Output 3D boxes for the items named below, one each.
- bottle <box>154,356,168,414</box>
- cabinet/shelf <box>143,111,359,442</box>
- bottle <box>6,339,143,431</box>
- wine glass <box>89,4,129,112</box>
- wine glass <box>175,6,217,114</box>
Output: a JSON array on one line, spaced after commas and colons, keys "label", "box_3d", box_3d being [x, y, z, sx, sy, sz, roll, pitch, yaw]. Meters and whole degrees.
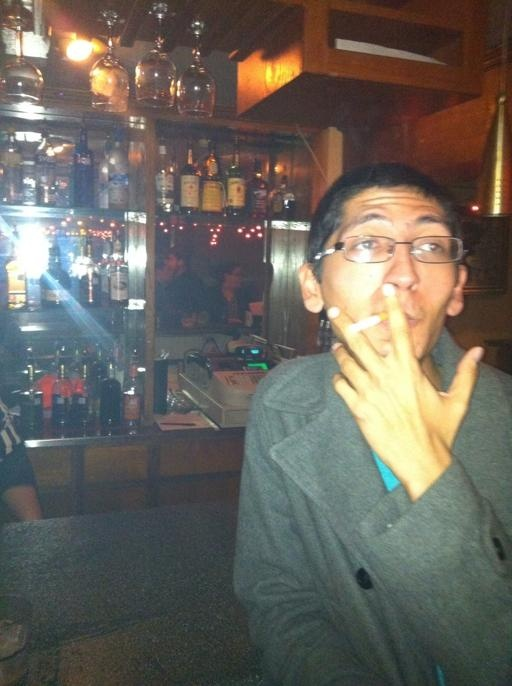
[{"label": "bottle", "box_3d": [-0.474, 0.218, 3.102, 0.066, 0.284, 0.174, 6, 9, 1]}, {"label": "cabinet/shelf", "box_3d": [-0.226, -0.207, 3.885, 1.390, 1.914, 1.310, 11, -25, -25]}, {"label": "bottle", "box_3d": [-0.855, 0.252, 2.925, 0.515, 0.120, 0.459, 4, 38, -19]}, {"label": "wine glass", "box_3d": [-0.532, -1.035, 2.262, 0.154, 0.346, 0.148, -3, 7, -25]}, {"label": "wine glass", "box_3d": [-0.213, -0.998, 2.219, 0.200, 0.304, 0.193, -7, 20, -25]}]
